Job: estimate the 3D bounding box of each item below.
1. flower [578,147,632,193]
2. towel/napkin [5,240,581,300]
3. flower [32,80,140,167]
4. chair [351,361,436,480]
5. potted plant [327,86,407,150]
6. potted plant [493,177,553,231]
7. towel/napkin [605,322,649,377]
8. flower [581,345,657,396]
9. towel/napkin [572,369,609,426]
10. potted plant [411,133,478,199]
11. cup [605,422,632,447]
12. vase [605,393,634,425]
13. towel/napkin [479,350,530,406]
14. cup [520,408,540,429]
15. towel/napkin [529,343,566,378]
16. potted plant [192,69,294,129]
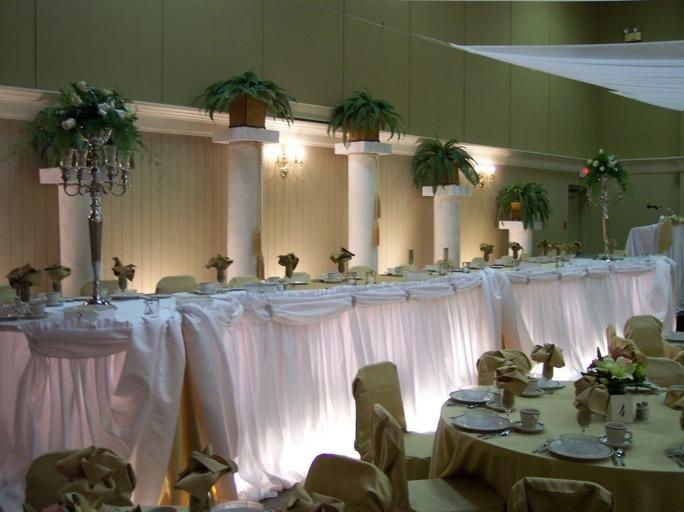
[{"bbox_3d":[3.753,-1.238,10.109,0.346,0.364,0.378,-11,-6,-33],"label":"flower"},{"bbox_3d":[-1.138,0.115,6.505,3.845,0.636,0.090,2,-12,-37],"label":"towel/napkin"},{"bbox_3d":[-2.391,-1.339,6.741,0.519,0.573,0.536,0,26,-37],"label":"flower"},{"bbox_3d":[0.366,1.226,4.888,0.524,0.950,0.579,-6,1,-30],"label":"chair"},{"bbox_3d":[0.347,-1.992,9.995,0.874,0.610,0.967,2,10,-21],"label":"potted plant"},{"bbox_3d":[3.324,-1.070,13.472,0.783,0.650,0.748,-4,-3,33],"label":"potted plant"},{"bbox_3d":[2.140,0.732,5.354,0.341,0.152,0.460,-12,-28,19],"label":"towel/napkin"},{"bbox_3d":[1.756,0.753,4.614,0.374,0.198,0.409,3,1,4],"label":"flower"},{"bbox_3d":[1.579,0.918,4.451,0.164,0.223,0.145,-17,-31,26],"label":"towel/napkin"},{"bbox_3d":[1.722,-1.522,11.586,0.892,0.747,0.947,3,-3,-20],"label":"potted plant"},{"bbox_3d":[1.664,1.073,4.226,0.134,0.122,0.120,0,-8,4],"label":"cup"},{"bbox_3d":[1.743,0.967,4.446,0.175,0.199,0.063,1,-2,-33],"label":"vase"},{"bbox_3d":[1.135,0.871,4.866,0.297,0.437,0.335,10,39,19],"label":"towel/napkin"},{"bbox_3d":[1.169,1.013,4.383,0.097,0.089,0.107,2,7,9],"label":"cup"},{"bbox_3d":[1.501,0.734,5.088,0.224,0.283,0.253,0,-4,0],"label":"towel/napkin"},{"bbox_3d":[-1.121,-1.865,8.315,1.156,0.720,1.128,1,6,-28],"label":"potted plant"}]
